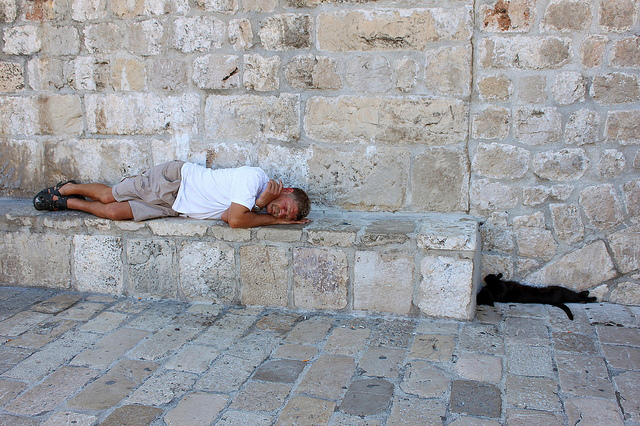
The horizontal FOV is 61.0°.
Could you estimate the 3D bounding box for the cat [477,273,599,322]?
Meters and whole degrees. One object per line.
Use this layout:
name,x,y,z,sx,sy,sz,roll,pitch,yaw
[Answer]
cat,1.637,0.638,4.045,0.694,0.124,0.343,2,-2,8

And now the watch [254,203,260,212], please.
watch,-0.480,-0.040,4.150,0.041,0.050,0.029,23,10,41

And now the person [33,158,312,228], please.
person,-1.191,-0.099,4.312,2.195,0.452,0.477,-1,6,8
